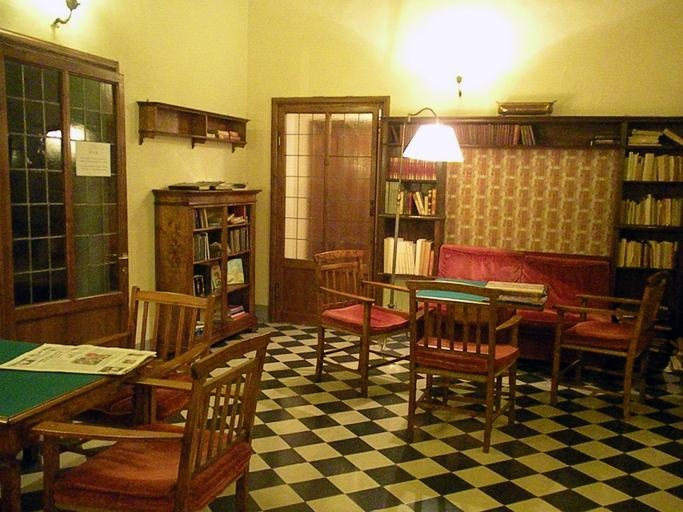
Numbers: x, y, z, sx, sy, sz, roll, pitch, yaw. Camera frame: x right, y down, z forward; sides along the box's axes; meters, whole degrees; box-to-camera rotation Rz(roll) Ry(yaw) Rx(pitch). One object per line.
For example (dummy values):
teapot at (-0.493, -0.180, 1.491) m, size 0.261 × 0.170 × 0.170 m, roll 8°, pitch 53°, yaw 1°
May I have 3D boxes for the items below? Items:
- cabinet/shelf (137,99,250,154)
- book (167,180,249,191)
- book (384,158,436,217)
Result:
cabinet/shelf at (-1.617, -1.427, 6.057) m, size 0.233 × 0.457 × 1.687 m, roll 5°, pitch 11°, yaw 21°
book at (-1.469, -0.751, 5.814) m, size 0.400 × 0.103 × 0.960 m, roll 6°, pitch 12°, yaw 25°
book at (0.817, -0.803, 6.323) m, size 0.696 × 0.677 × 0.233 m, roll 4°, pitch 7°, yaw 16°
